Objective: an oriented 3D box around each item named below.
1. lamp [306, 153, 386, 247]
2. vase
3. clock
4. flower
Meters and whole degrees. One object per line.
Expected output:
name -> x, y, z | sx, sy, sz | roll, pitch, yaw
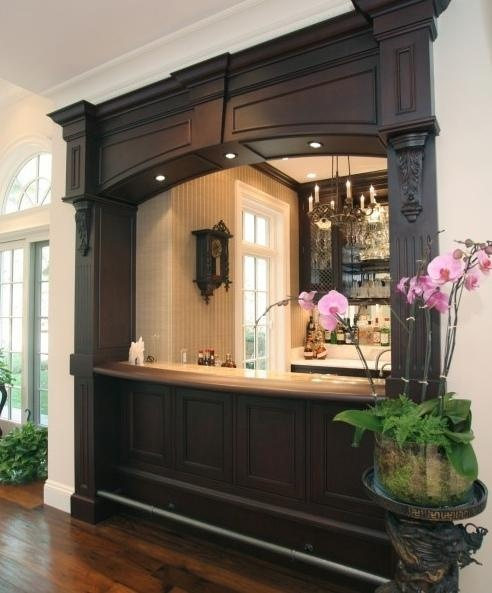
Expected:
lamp -> 0.931, -0.866, 4.754 | 0.827, 1.162, 0.817 | 1, 7, 12
vase -> 0.518, 0.521, 1.601 | 0.225, 0.133, 0.219 | 2, -6, -8
clock -> -0.273, -0.235, 4.107 | 0.164, 0.564, 0.489 | 0, -1, 16
flower -> 0.573, 0.201, 1.877 | 0.569, 0.826, 0.747 | -1, -1, 23
